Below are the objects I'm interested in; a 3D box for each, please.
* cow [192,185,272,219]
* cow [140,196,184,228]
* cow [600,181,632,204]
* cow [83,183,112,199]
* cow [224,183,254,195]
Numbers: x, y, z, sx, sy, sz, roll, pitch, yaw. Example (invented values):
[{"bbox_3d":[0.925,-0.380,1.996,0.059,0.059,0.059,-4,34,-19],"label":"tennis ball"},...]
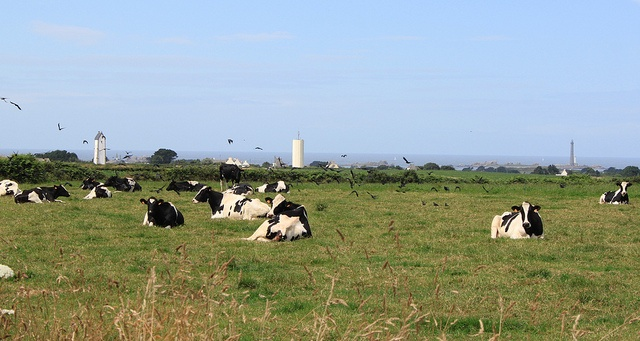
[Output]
[{"bbox_3d":[-5.282,1.946,53.830,4.679,1.635,1.695,3,0,17],"label":"cow"},{"bbox_3d":[-8.401,2.354,51.498,2.523,1.532,1.239,0,-1,8],"label":"cow"},{"bbox_3d":[19.192,1.396,60.172,1.730,1.483,1.911,2,2,16],"label":"cow"},{"bbox_3d":[-13.967,1.310,58.287,0.728,0.819,1.892,4,8,22],"label":"cow"},{"bbox_3d":[-5.166,1.233,61.123,2.243,0.924,0.699,5,1,-5],"label":"cow"}]
